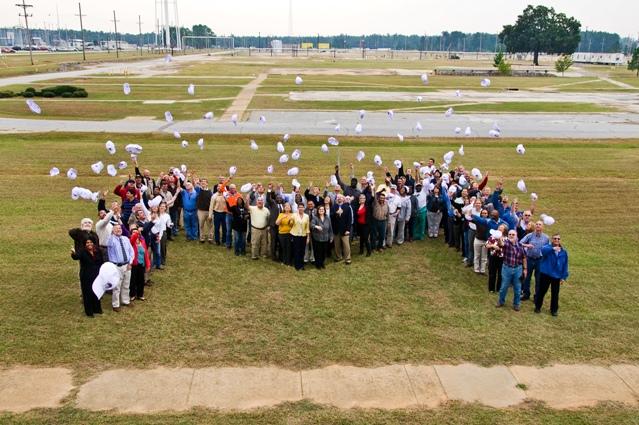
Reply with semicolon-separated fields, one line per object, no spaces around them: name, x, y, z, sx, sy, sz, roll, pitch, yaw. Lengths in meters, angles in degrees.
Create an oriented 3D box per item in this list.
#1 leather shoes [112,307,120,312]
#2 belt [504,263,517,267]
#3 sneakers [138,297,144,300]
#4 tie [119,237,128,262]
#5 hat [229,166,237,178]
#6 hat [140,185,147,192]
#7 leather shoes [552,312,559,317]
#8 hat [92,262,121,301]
leather shoes;-7.123;3.372;25.945;0.221;0.116;0.160;-2;19;-10
belt;6.728;1.854;26.314;0.434;0.138;0.084;8;19;19
sneakers;-6.338;3.043;26.408;0.217;0.108;0.149;-4;19;-14
tie;-6.807;1.333;25.795;0.247;0.862;0.171;7;19;17
hat;-3.643;-1.691;30.891;0.402;0.396;1.245;0;1;-3
hat;-6.826;-0.918;28.829;0.207;0.233;0.243;21;29;28
leather shoes;8.277;3.578;26.238;0.155;0.047;0.148;18;35;40
hat;-7.230;2.307;25.101;0.836;1.267;0.369;31;-2;2
